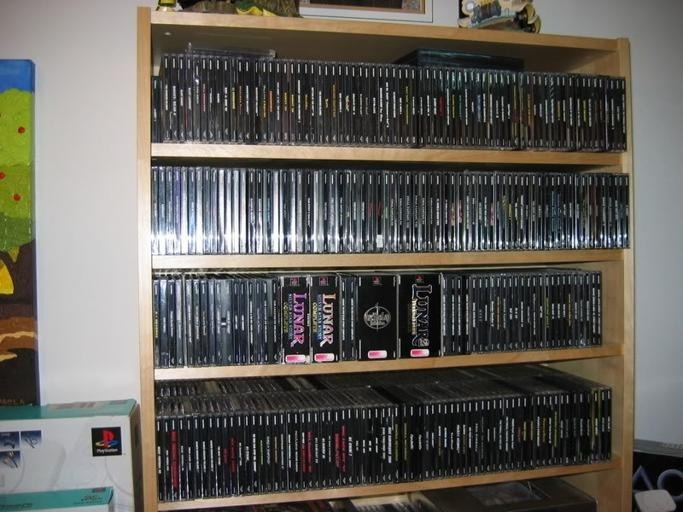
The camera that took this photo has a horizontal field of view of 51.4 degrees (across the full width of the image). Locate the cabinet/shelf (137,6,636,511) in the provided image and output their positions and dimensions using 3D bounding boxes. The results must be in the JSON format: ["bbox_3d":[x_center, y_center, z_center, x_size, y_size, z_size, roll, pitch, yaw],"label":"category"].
[{"bbox_3d":[0.132,0.010,2.449,1.746,1.802,0.545,0,0,-11],"label":"cabinet/shelf"}]
